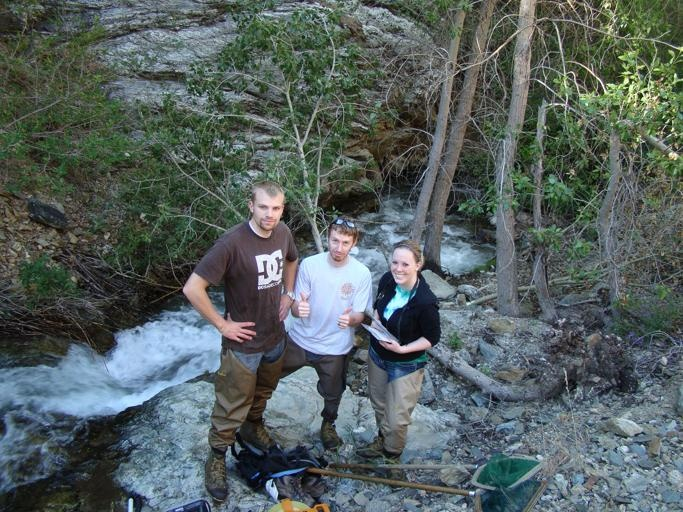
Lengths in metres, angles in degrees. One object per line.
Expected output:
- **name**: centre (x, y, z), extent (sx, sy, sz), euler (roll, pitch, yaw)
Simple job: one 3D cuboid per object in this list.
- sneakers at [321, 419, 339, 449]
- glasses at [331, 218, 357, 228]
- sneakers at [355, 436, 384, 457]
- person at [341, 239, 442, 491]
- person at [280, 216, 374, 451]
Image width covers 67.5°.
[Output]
- **sneakers**: centre (-0.130, 1.967, 5.702), extent (0.130, 0.162, 0.366), euler (-1, 7, -20)
- **glasses**: centre (0.022, -0.317, 5.014), extent (0.228, 0.116, 0.105), euler (-4, 29, 4)
- **sneakers**: centre (0.318, 2.048, 5.480), extent (0.371, 0.166, 0.137), euler (5, -1, -10)
- **person**: centre (0.608, 1.070, 5.247), extent (0.748, 2.331, 1.021), euler (6, 31, 21)
- **person**: centre (-0.277, 0.841, 5.303), extent (1.028, 2.458, 0.973), euler (8, 19, -1)
